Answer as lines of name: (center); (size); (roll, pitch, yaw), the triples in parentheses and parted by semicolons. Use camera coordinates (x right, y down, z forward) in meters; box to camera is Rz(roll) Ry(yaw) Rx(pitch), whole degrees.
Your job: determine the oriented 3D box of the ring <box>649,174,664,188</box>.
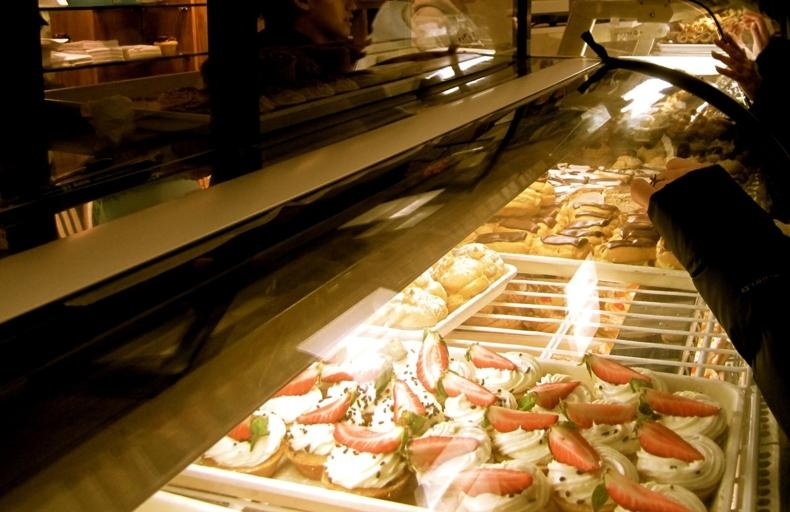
ring: (0.621, -0.180, 1.182); (0.032, 0.013, 0.035); (-32, 24, 16)
